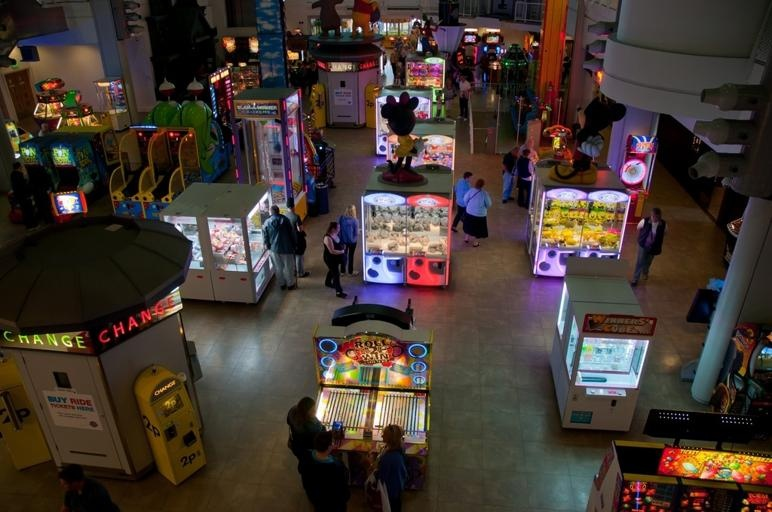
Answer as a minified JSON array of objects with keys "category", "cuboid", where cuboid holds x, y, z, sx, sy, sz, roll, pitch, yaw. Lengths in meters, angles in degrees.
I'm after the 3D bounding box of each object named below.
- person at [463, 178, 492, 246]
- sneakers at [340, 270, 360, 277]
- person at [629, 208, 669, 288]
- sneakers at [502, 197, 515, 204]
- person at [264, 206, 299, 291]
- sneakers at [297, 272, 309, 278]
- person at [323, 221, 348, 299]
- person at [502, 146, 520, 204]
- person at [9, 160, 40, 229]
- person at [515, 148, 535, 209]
[{"category":"person","cuboid":[2.067,-1.027,12.770,0.573,1.697,0.981,2,23,9]},{"category":"sneakers","cuboid":[-0.796,0.346,12.124,0.378,0.158,0.136,-6,32,-13]},{"category":"person","cuboid":[5.464,-0.253,11.613,0.492,1.707,0.791,8,25,23]},{"category":"sneakers","cuboid":[3.255,-1.491,14.902,0.196,0.185,0.085,-10,74,-10]},{"category":"person","cuboid":[-2.141,-0.132,11.342,0.623,1.850,0.357,-7,23,-11]},{"category":"sneakers","cuboid":[-1.800,0.406,12.087,0.253,0.092,0.090,-5,51,-18]},{"category":"person","cuboid":[-1.035,0.123,11.470,0.636,1.716,0.590,7,45,4]},{"category":"person","cuboid":[3.310,-2.084,14.725,0.602,1.693,0.645,9,59,13]},{"category":"person","cuboid":[-8.827,-1.490,13.509,0.412,1.710,0.981,-17,27,-32]},{"category":"person","cuboid":[3.526,-2.007,14.322,0.385,1.580,1.058,3,23,11]}]
